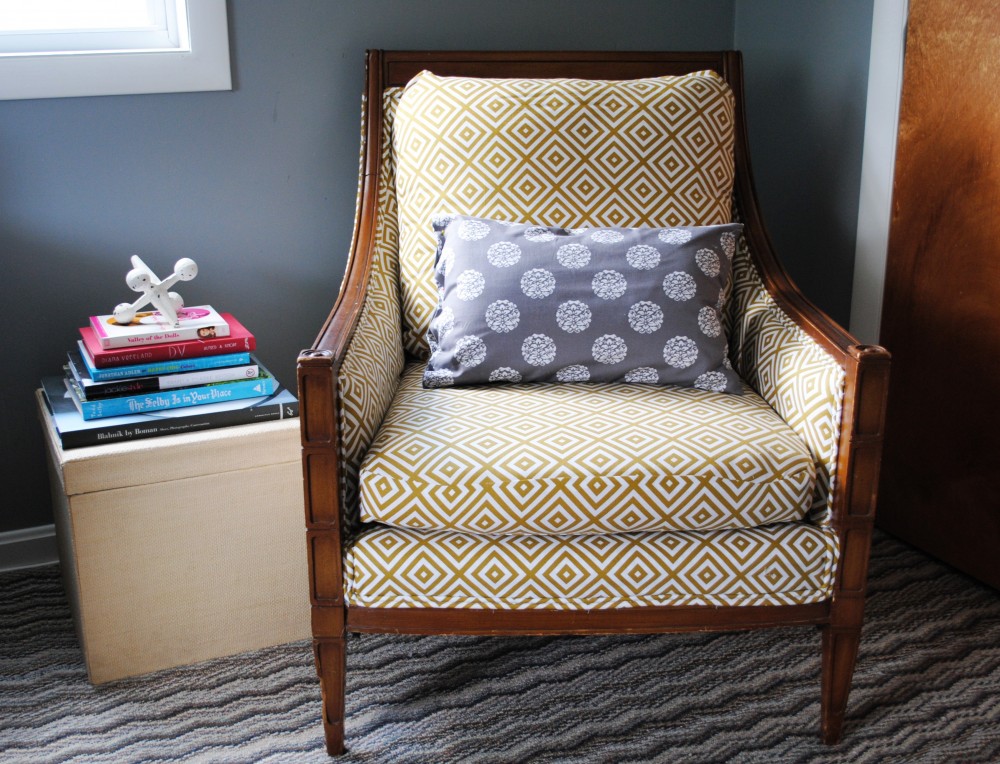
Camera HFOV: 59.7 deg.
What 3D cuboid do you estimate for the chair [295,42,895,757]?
[{"bbox_3d":[0.140,-0.017,1.727,0.956,1.114,0.915,-3,23,0],"label":"chair"}]

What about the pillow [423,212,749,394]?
[{"bbox_3d":[0.163,-0.149,1.691,0.638,0.331,0.184,0,1,5],"label":"pillow"}]

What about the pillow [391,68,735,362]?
[{"bbox_3d":[0.128,-0.319,1.732,0.620,0.452,0.203,-2,25,-4],"label":"pillow"}]

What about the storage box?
[{"bbox_3d":[-0.638,0.302,1.891,0.570,0.444,0.538,-6,19,-19],"label":"storage box"}]
